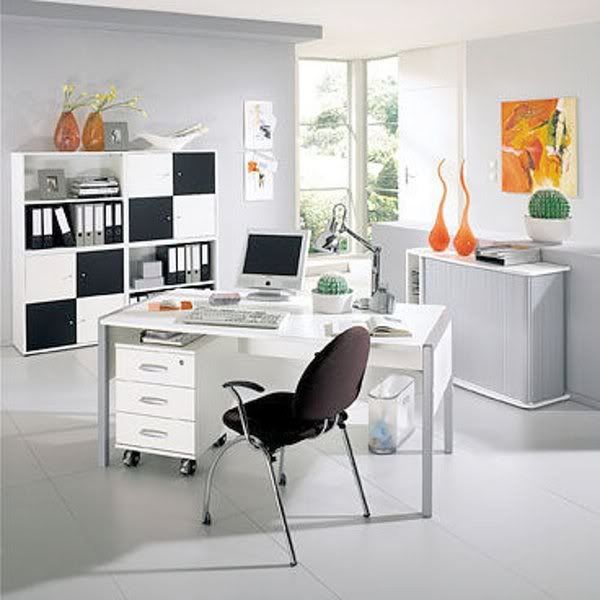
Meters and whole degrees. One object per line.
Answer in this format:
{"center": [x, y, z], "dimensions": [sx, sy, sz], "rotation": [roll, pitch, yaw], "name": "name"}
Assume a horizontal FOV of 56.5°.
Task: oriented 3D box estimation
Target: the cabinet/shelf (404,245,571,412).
{"center": [1.195, 0.193, 3.392], "dimensions": [0.338, 0.830, 0.902], "rotation": [-7, 10, -36], "name": "cabinet/shelf"}

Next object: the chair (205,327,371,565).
{"center": [-0.063, 0.657, 2.446], "dimensions": [0.624, 1.038, 0.603], "rotation": [9, 12, 37], "name": "chair"}

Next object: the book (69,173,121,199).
{"center": [-1.757, -0.970, 4.780], "dimensions": [0.420, 0.179, 0.237], "rotation": [-5, 10, -24], "name": "book"}

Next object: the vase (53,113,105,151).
{"center": [-1.877, -1.420, 4.739], "dimensions": [0.323, 0.271, 0.160], "rotation": [-4, 12, -33], "name": "vase"}

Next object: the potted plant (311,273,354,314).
{"center": [0.178, -0.038, 3.011], "dimensions": [0.178, 0.184, 0.201], "rotation": [1, 5, 1], "name": "potted plant"}

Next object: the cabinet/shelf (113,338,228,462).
{"center": [-0.634, 0.469, 2.940], "dimensions": [0.421, 0.648, 0.627], "rotation": [2, 4, 19], "name": "cabinet/shelf"}

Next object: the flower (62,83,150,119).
{"center": [-1.812, -1.753, 4.895], "dimensions": [0.425, 0.162, 0.432], "rotation": [15, 13, 40], "name": "flower"}

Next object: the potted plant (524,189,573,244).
{"center": [1.643, -0.563, 3.838], "dimensions": [0.321, 0.471, 0.327], "rotation": [-1, 7, 3], "name": "potted plant"}

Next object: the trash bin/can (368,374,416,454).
{"center": [0.562, 0.612, 2.993], "dimensions": [0.199, 0.402, 0.431], "rotation": [2, 7, 21], "name": "trash bin/can"}

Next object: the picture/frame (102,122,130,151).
{"center": [-1.593, -1.412, 4.818], "dimensions": [0.230, 0.305, 0.028], "rotation": [-2, 7, -24], "name": "picture/frame"}

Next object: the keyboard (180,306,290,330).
{"center": [-0.328, 0.090, 2.700], "dimensions": [0.502, 0.059, 0.229], "rotation": [1, 10, 6], "name": "keyboard"}
